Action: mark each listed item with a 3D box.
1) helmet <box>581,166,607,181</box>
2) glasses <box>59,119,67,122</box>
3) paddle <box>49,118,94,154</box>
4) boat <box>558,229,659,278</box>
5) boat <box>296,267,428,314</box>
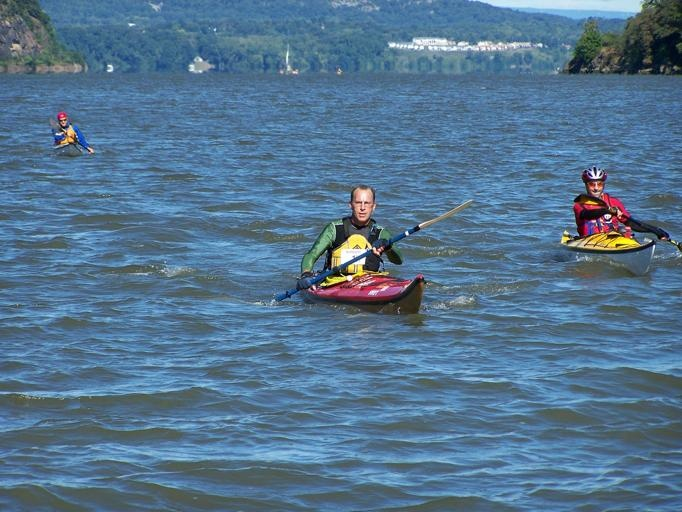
[{"bbox_3d":[4.811,-1.591,25.251,0.411,0.184,0.498,0,3,10],"label":"helmet"},{"bbox_3d":[-7.976,-3.880,37.449,0.164,0.094,0.135,0,26,-4],"label":"glasses"},{"bbox_3d":[-7.809,-3.448,37.579,1.679,0.600,0.635,37,87,39],"label":"paddle"},{"bbox_3d":[5.091,-0.100,24.703,0.649,0.440,2.213,7,2,-36],"label":"boat"},{"bbox_3d":[0.400,0.592,21.887,2.261,0.422,0.754,-2,5,41],"label":"boat"}]
